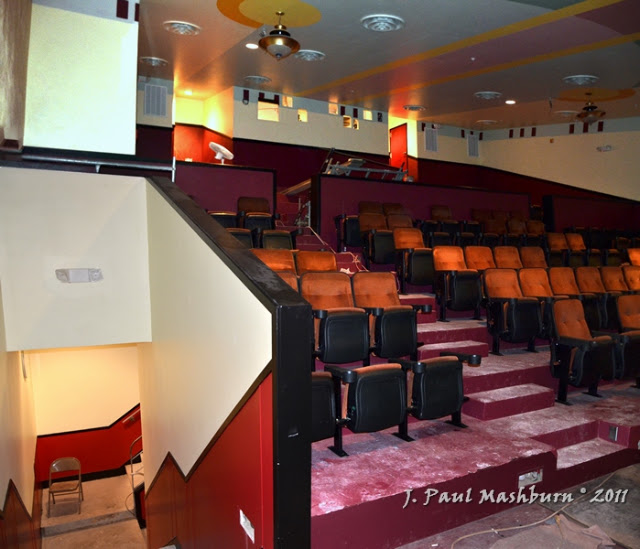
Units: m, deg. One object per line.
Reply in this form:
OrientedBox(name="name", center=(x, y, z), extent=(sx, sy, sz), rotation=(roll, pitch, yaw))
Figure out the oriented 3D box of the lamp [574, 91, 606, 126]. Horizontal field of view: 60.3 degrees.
OrientedBox(name="lamp", center=(5.167, -3.226, 10.561), extent=(0.457, 0.666, 0.468), rotation=(-3, -8, 32))
